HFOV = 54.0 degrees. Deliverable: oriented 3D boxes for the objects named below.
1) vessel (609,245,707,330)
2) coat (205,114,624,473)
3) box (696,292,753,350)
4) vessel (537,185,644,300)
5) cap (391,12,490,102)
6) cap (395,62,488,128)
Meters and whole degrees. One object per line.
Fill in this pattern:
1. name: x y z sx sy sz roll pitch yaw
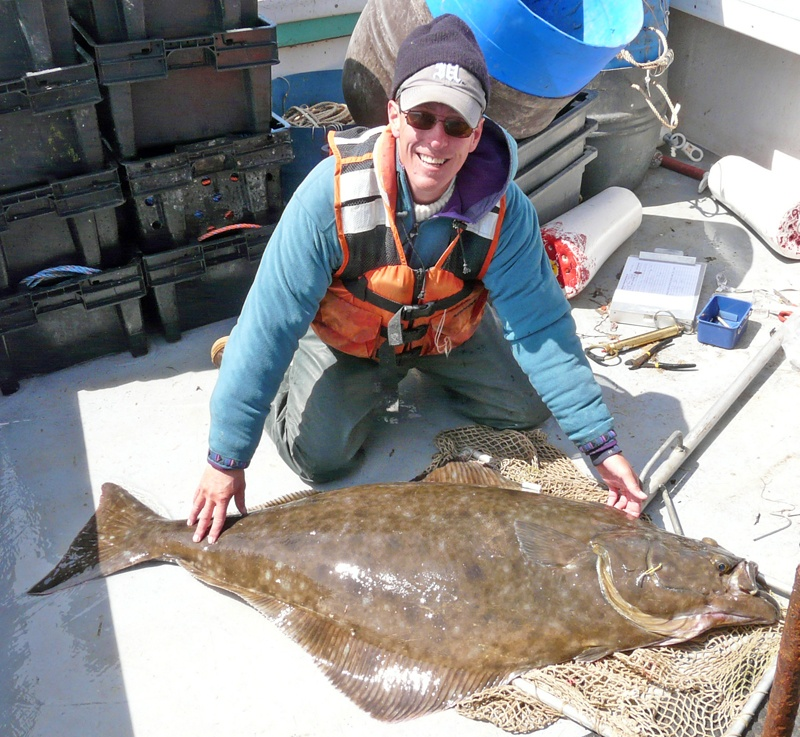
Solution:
1. vessel: 1.423 -0.470 4.309 0.454 0.177 0.490 16 51 23
2. coat: 0.068 -0.288 3.014 1.535 1.181 0.775 2 33 -7
3. box: 1.681 -0.252 4.069 0.253 0.142 0.333 17 48 26
4. vessel: 1.142 -0.810 4.581 0.913 0.349 0.453 -35 42 -28
5. cap: 0.135 -1.113 2.828 0.258 0.244 0.350 9 2 -11
6. cap: 0.151 -0.976 2.783 0.361 0.186 0.433 8 13 -9
